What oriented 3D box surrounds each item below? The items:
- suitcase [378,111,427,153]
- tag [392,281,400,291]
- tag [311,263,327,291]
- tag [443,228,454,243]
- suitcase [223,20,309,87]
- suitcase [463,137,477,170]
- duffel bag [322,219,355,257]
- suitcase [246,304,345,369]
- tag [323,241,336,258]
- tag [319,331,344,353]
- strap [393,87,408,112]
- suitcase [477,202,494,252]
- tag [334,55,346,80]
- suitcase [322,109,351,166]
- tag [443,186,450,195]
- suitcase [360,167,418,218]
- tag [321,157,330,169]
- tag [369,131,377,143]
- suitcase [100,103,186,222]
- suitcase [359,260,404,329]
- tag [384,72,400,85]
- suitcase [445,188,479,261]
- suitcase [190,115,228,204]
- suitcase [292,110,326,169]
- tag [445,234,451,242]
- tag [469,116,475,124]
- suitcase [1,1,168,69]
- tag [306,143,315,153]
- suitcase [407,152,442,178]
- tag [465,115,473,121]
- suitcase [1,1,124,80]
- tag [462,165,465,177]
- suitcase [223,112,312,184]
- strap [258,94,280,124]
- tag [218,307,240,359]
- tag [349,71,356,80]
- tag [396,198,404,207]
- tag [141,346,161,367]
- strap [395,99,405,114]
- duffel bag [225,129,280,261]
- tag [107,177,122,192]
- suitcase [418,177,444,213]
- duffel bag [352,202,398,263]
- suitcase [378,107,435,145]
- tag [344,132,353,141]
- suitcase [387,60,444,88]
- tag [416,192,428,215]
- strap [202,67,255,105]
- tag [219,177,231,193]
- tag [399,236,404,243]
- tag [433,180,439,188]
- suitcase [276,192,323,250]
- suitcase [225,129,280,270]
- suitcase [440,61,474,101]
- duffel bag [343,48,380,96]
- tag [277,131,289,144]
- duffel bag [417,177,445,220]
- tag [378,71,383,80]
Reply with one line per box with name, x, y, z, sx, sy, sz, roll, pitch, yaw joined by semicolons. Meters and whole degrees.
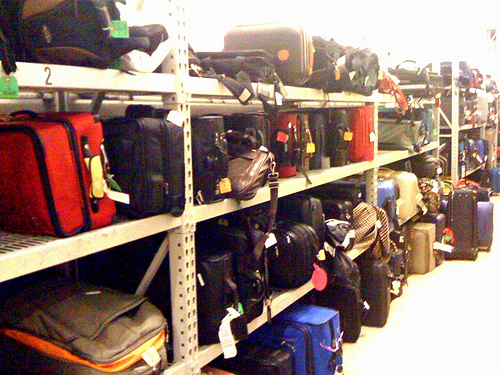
suitcase;1.497;-0.539;4.160;0.504;0.437;0.402;-1;-2;15
tag;1.226;0.829;3.504;0.022;0.078;0.086;2;2;36
tag;0.409;0.534;2.491;0.105;0.143;0.052;-20;-7;35
tag;2.133;0.524;4.512;0.055;0.142;0.144;-27;24;50
suitcase;0.097;-0.832;2.619;0.543;0.424;0.287;4;14;18
suitcase;3.407;-0.521;6.440;0.139;0.530;0.790;3;12;32
duffel bag;0.593;0.320;2.803;0.177;0.248;0.091;10;6;18
suitcase;0.346;0.804;2.596;0.494;0.499;0.327;1;-6;7
tag;0.509;0.402;2.741;0.026;0.104;0.075;-42;-26;18
tag;0.489;0.947;2.530;0.108;0.029;0.108;-37;4;-34
strap;1.422;-0.821;3.900;0.063;0.257;0.190;-20;39;-3
suitcase;2.552;0.435;4.555;0.140;0.551;0.256;6;13;41
tag;0.591;-0.790;2.745;0.087;0.143;0.035;3;-1;41
suitcase;0.668;-0.366;3.211;0.216;0.390;0.230;5;2;36
tag;2.469;0.040;5.241;0.102;0.024;0.103;1;42;21
suitcase;1.230;0.058;3.717;0.237;0.373;0.418;-11;16;-30
tag;0.549;-0.177;3.032;0.075;0.082;0.073;-1;2;-12
tag;0.979;-0.406;3.332;0.019;0.068;0.073;0;0;43
suitcase;-0.456;-0.108;1.675;0.336;0.433;0.285;13;14;43
suitcase;1.073;0.868;3.396;0.345;0.560;0.359;12;-16;-38
tag;1.280;-0.982;3.766;0.081;0.106;0.528;2;11;24
suitcase;2.316;0.422;4.548;0.318;0.770;0.202;2;11;26
suitcase;-0.185;-0.122;1.872;0.161;0.388;0.106;-4;10;-8
suitcase;0.440;-0.332;3.074;0.219;0.345;0.212;1;3;9
tag;2.110;0.538;4.454;0.063;0.070;0.019;-2;-3;25
tag;3.200;-0.978;6.003;0.029;0.105;0.087;0;10;15
suitcase;-0.487;-0.489;1.358;0.542;0.162;0.206;-3;-35;-27
tag;0.407;-0.273;2.838;0.026;0.067;0.073;0;3;39
suitcase;1.938;-0.291;4.689;0.330;0.250;0.336;-19;32;-31
tag;3.151;-1.011;6.012;0.076;0.075;0.019;20;-24;-29
suitcase;-0.600;-0.465;1.306;0.202;0.264;0.393;7;14;44
tag;3.076;-0.226;6.013;0.027;0.190;0.161;3;12;32
suitcase;0.039;-0.288;2.636;0.360;0.537;0.565;11;18;40
strap;0.066;-0.423;2.217;0.153;0.147;0.111;8;15;35
tag;-0.099;0.659;1.876;0.068;0.189;0.136;0;0;20
tag;0.706;-0.784;2.884;0.046;0.044;0.012;-13;24;-32
tag;1.403;0.140;3.909;0.020;0.075;0.078;16;8;33
tag;-0.374;0.638;1.575;0.015;0.062;0.066;-24;7;33
strap;1.491;-0.808;4.211;0.107;0.119;0.033;4;7;30
duffel bag;-0.036;0.033;2.104;0.202;0.551;0.442;-8;17;-40
tag;-0.484;-0.011;1.485;0.042;0.017;0.062;33;4;-18
suitcase;1.903;0.136;4.391;0.127;0.422;0.309;-16;9;40
duffel bag;0.955;0.407;3.301;0.205;0.572;0.589;3;11;29
suitcase;1.744;-0.687;4.747;0.700;0.468;0.402;-5;23;9
tag;0.726;-0.385;3.112;0.073;0.073;0.019;4;2;1
suitcase;1.647;-1.273;4.551;0.503;0.182;0.373;14;8;-27
tag;1.756;0.174;4.260;0.050;0.201;0.148;-25;7;-1
strap;-0.105;-0.494;1.998;0.244;0.188;0.208;-4;10;-5
tag;-0.115;-0.009;1.910;0.022;0.060;0.061;5;5;43
tag;1.397;0.484;3.845;0.062;0.071;0.020;-10;12;-34
tag;1.970;-0.035;4.438;0.038;0.062;0.067;-20;24;-32
suitcase;0.294;0.215;2.555;0.235;0.378;0.215;22;33;39
suitcase;-0.011;0.018;2.132;0.234;0.590;0.435;-4;7;-22
suitcase;2.752;-1.440;5.544;0.269;0.526;0.879;5;13;38
duffel bag;0.820;-0.832;3.011;0.268;0.333;0.352;2;9;22
tag;0.202;-0.312;2.547;0.059;0.064;0.015;9;5;21
duffel bag;1.892;0.089;4.375;0.344;0.472;0.166;16;-19;-35
tag;0.997;-0.867;3.195;0.013;0.052;0.055;6;5;40
